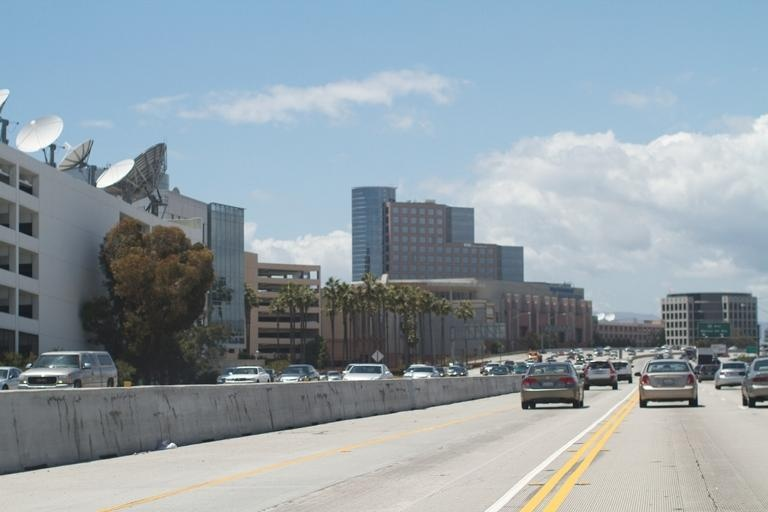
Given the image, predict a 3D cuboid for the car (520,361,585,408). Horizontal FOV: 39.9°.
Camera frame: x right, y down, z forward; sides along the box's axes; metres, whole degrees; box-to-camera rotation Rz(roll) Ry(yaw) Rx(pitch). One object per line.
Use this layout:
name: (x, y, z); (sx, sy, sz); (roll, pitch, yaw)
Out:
car: (7.034, 5.455, 44.704); (2.353, 1.774, 1.089); (-2, -10, 0)

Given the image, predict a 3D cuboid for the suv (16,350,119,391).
suv: (-12.858, 4.815, 44.262); (1.895, 1.365, 3.474); (-4, -12, 15)

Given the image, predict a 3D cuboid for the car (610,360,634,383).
car: (17.797, 8.904, 78.858); (1.650, 1.497, 3.787); (-1, 0, 12)

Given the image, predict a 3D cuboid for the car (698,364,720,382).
car: (24.899, 9.285, 81.773); (1.460, 1.123, 2.638); (-1, 1, 8)
